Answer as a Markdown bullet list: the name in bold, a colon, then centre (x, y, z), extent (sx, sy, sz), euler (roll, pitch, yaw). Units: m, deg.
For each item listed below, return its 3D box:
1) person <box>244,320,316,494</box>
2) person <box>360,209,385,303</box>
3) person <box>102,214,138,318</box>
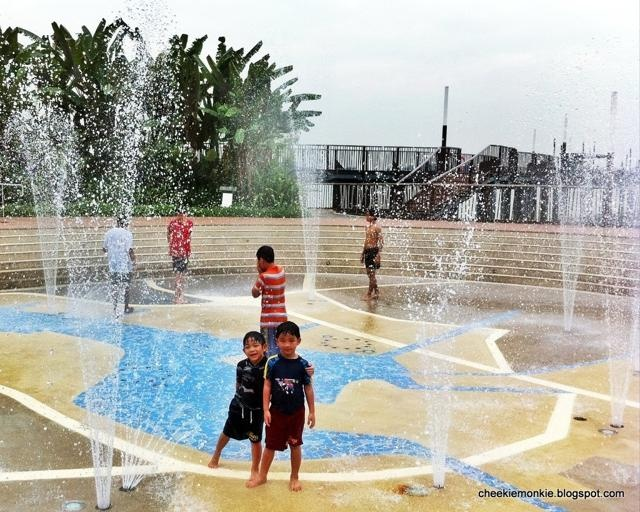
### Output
- **person**: centre (-0.368, 1.488, 6.430), extent (0.628, 1.675, 0.404), euler (0, 9, -2)
- **person**: centre (1.253, -0.076, 15.371), extent (0.488, 2.177, 1.202), euler (2, 9, 4)
- **person**: centre (-3.950, 0.185, 12.641), extent (0.560, 1.986, 0.543), euler (-3, 10, -22)
